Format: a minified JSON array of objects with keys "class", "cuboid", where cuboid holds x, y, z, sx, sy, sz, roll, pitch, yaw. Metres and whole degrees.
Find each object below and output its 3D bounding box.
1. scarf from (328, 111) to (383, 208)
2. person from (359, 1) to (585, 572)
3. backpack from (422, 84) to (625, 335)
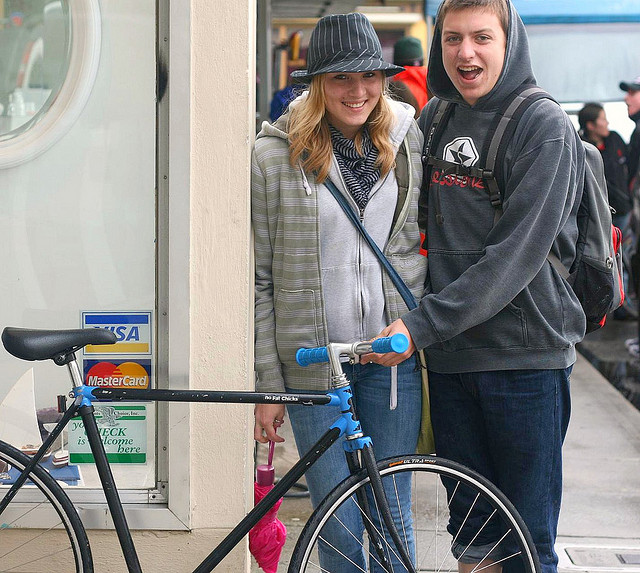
[{"class":"scarf","cuboid":[0.124,-0.453,3.668,0.241,0.293,0.097,-18,5,18]},{"class":"person","cuboid":[0.605,0.002,3.669,0.671,2.024,0.602,-3,9,18]},{"class":"backpack","cuboid":[0.719,-0.271,3.726,0.676,0.899,0.395,-4,9,14]}]
